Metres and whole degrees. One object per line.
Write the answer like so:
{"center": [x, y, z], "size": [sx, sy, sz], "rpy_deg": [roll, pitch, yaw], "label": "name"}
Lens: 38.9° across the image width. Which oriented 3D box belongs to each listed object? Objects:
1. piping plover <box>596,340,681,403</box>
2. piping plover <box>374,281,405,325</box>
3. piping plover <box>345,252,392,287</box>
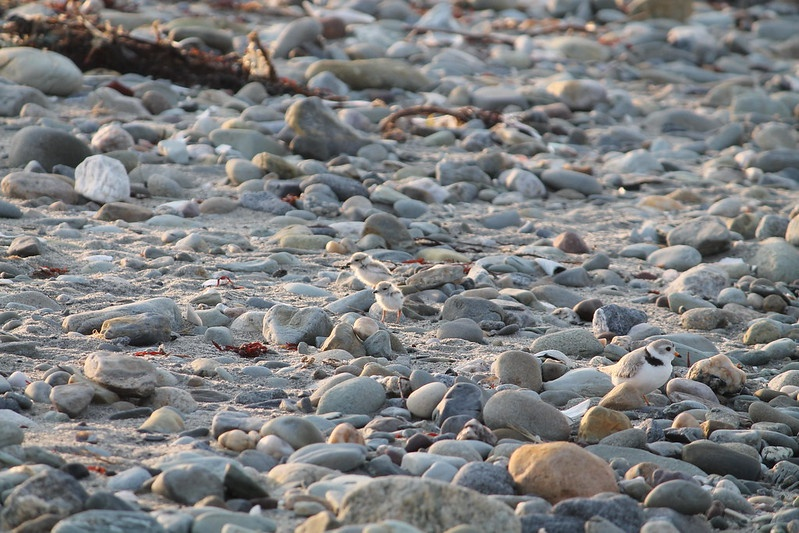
{"center": [1.741, 0.736, 8.223], "size": [0.712, 0.402, 0.369], "rpy_deg": [0, 2, 44], "label": "piping plover"}
{"center": [-0.091, 0.277, 8.981], "size": [0.251, 0.345, 0.249], "rpy_deg": [9, 13, 0], "label": "piping plover"}
{"center": [-0.273, 0.030, 9.311], "size": [0.397, 0.226, 0.259], "rpy_deg": [-16, 0, 35], "label": "piping plover"}
